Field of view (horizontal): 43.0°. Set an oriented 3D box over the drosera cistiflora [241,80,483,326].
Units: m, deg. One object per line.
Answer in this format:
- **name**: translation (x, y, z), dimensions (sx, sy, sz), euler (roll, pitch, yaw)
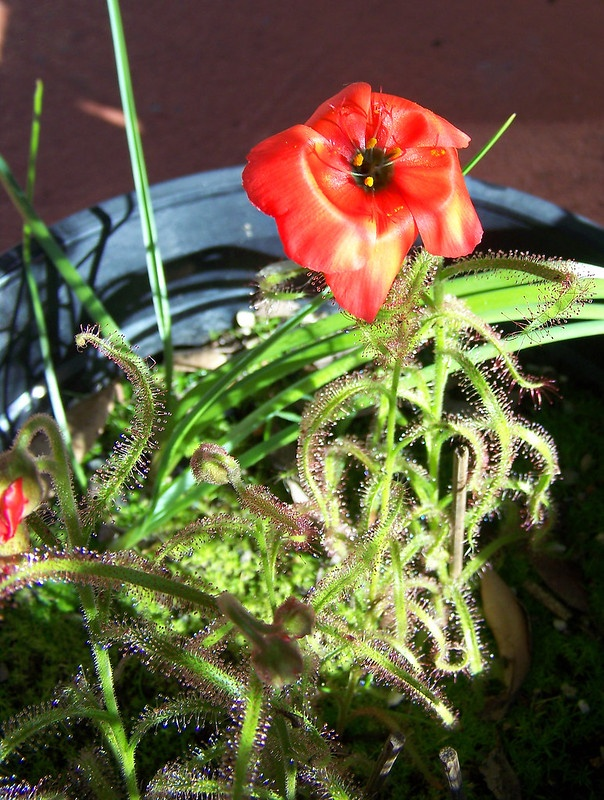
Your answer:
- **drosera cistiflora**: translation (0.046, -0.165, 0.619), dimensions (0.170, 0.155, 0.140), euler (-22, 38, -34)
